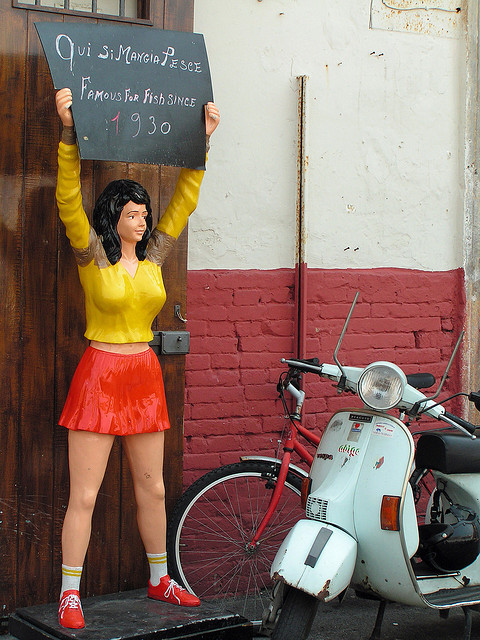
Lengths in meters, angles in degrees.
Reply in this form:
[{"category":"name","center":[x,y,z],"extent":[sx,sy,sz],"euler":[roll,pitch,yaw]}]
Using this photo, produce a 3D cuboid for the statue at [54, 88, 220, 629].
[{"category":"statue","center":[-0.409,0.122,2.832],"extent":[0.613,1.829,0.325],"euler":[1,1,-21]}]
